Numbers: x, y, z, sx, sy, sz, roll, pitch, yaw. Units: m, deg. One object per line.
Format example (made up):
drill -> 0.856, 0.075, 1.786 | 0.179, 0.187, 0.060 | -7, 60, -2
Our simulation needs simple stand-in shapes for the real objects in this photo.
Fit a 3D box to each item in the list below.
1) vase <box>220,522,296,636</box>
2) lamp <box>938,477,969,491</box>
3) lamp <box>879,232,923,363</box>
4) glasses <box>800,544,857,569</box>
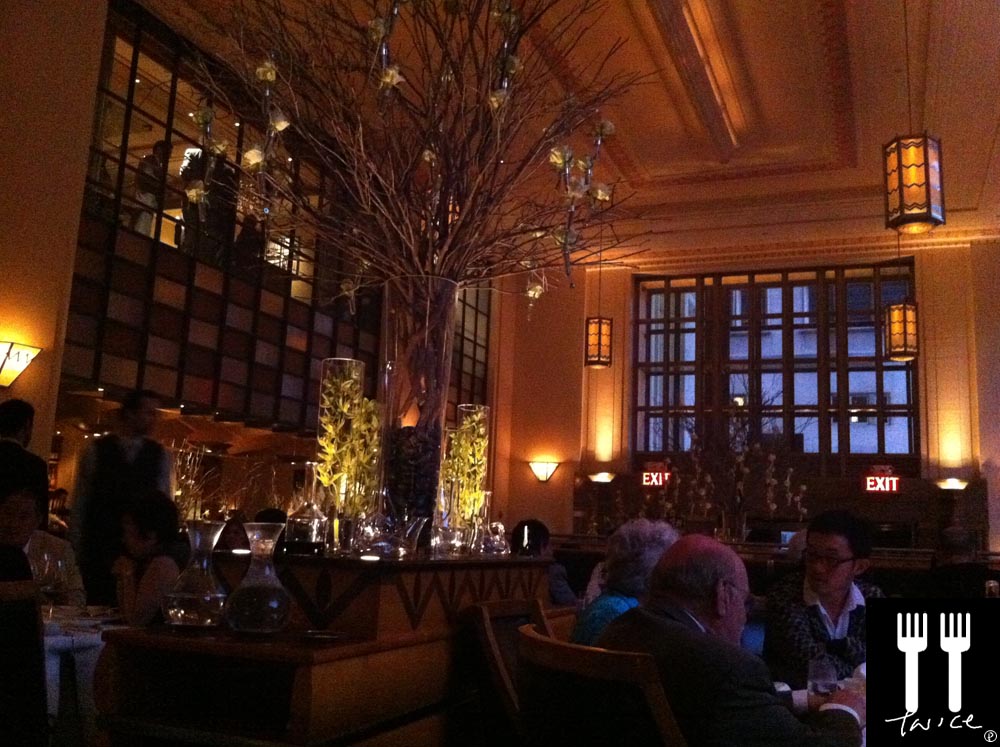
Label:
vase -> -0.621, 0.521, 2.041 | 0.135, 0.269, 0.130 | 10, -16, -41
lamp -> 6.730, 1.679, 11.946 | 0.231, 0.124, 0.236 | 8, -10, -37
lamp -> 5.481, -0.621, 10.965 | 0.452, 0.902, 0.317 | -5, -13, 21
glasses -> 1.359, 0.759, 3.296 | 0.199, 0.065, 0.187 | 20, -20, -41
